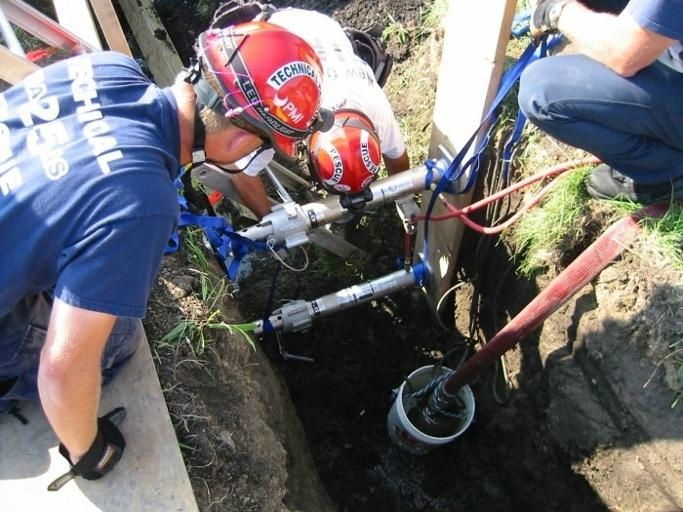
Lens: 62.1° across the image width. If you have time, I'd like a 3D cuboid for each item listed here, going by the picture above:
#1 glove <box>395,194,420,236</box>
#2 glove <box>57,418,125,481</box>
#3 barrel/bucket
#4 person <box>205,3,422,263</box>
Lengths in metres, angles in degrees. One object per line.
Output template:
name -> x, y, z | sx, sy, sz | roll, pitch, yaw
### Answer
glove -> 0.501, -0.335, 4.406 | 0.161, 0.343, 0.124 | -12, 3, -8
glove -> -1.337, 1.094, 3.178 | 0.371, 0.225, 0.294 | -13, 39, 32
barrel/bucket -> 0.603, 1.225, 4.354 | 0.607, 0.722, 0.984 | -5, -8, 3
person -> -0.165, -1.092, 4.707 | 0.558, 1.931, 1.306 | -15, 1, 45
